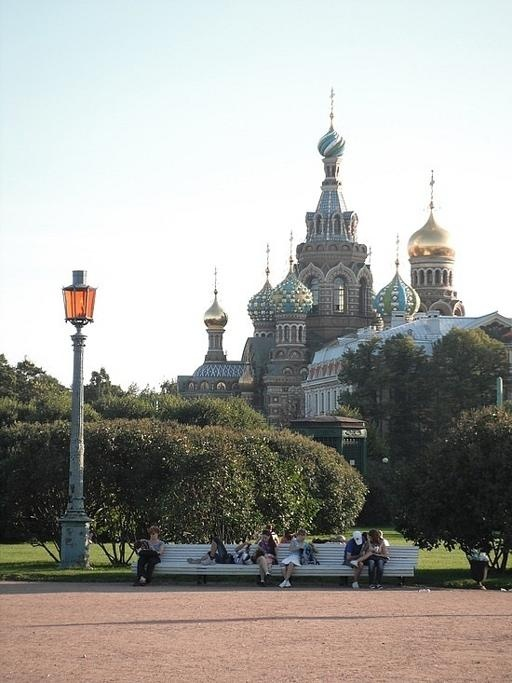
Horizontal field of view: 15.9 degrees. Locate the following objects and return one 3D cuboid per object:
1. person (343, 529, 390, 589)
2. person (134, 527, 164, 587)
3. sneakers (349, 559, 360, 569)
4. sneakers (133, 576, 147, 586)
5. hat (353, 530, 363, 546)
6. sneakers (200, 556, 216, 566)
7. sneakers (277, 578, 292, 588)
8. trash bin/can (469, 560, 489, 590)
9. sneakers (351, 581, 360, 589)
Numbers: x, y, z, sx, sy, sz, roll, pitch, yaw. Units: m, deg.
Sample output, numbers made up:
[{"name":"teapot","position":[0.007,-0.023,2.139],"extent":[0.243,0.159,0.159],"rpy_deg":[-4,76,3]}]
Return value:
[{"name":"person","position":[1.896,3.703,31.198],"extent":[0.764,1.006,0.755],"rpy_deg":[-2,-7,4]},{"name":"person","position":[-1.790,3.623,30.955],"extent":[0.473,1.007,1.452],"rpy_deg":[-1,-8,-4]},{"name":"sneakers","position":[1.673,3.795,31.224],"extent":[0.114,0.126,0.241],"rpy_deg":[2,-8,-20]},{"name":"sneakers","position":[-1.930,3.965,30.335],"extent":[0.088,0.189,0.244],"rpy_deg":[2,4,-33]},{"name":"hat","position":[1.753,3.372,31.299],"extent":[0.160,0.243,0.385],"rpy_deg":[-1,-8,3]},{"name":"sneakers","position":[-0.820,3.762,31.418],"extent":[0.226,0.196,0.115],"rpy_deg":[4,-2,14]},{"name":"sneakers","position":[0.497,4.072,30.653],"extent":[0.246,0.196,0.093],"rpy_deg":[1,-8,-6]},{"name":"trash bin/can","position":[3.995,4.108,32.349],"extent":[0.321,0.620,0.378],"rpy_deg":[-1,0,-9]},{"name":"sneakers","position":[1.695,4.121,30.977],"extent":[0.093,0.138,0.281],"rpy_deg":[2,7,3]}]
